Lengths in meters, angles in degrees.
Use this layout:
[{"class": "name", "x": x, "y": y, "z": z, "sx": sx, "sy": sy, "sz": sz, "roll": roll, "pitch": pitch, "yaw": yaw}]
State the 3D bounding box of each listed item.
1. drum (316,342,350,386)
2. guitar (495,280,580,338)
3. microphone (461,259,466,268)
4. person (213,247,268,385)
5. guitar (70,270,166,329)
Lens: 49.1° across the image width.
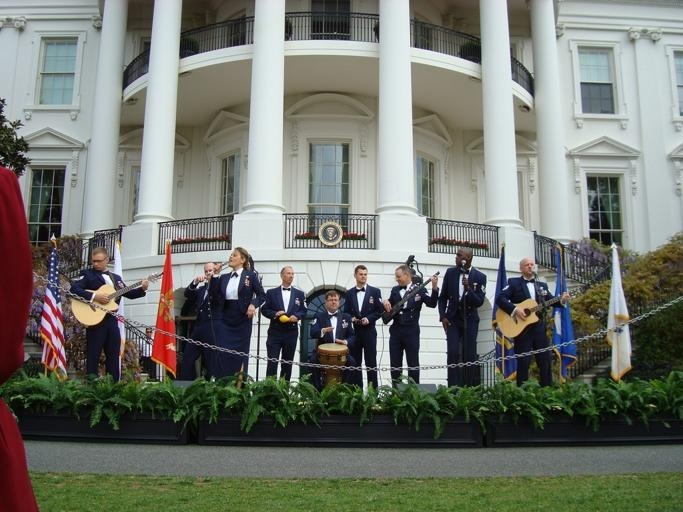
[{"class": "drum", "x": -0.154, "y": 1.840, "z": 12.912, "sx": 0.524, "sy": 0.951, "sz": 0.636, "roll": 1, "pitch": 1, "yaw": -6}, {"class": "guitar", "x": 3.382, "y": 1.004, "z": 13.595, "sx": 1.176, "sy": 1.025, "sz": 0.863, "roll": 5, "pitch": 13, "yaw": 14}, {"class": "microphone", "x": 2.281, "y": 0.131, "z": 13.883, "sx": 0.041, "sy": 0.156, "sz": 0.156, "roll": 10, "pitch": 15, "yaw": 36}, {"class": "person", "x": -1.858, "y": 1.054, "z": 13.555, "sx": 0.918, "sy": 2.347, "sz": 1.096, "roll": -1, "pitch": 12, "yaw": -11}, {"class": "guitar", "x": -3.947, "y": 0.656, "z": 13.374, "sx": 1.811, "sy": 0.839, "sz": 0.252, "roll": -31, "pitch": 3, "yaw": -22}]
